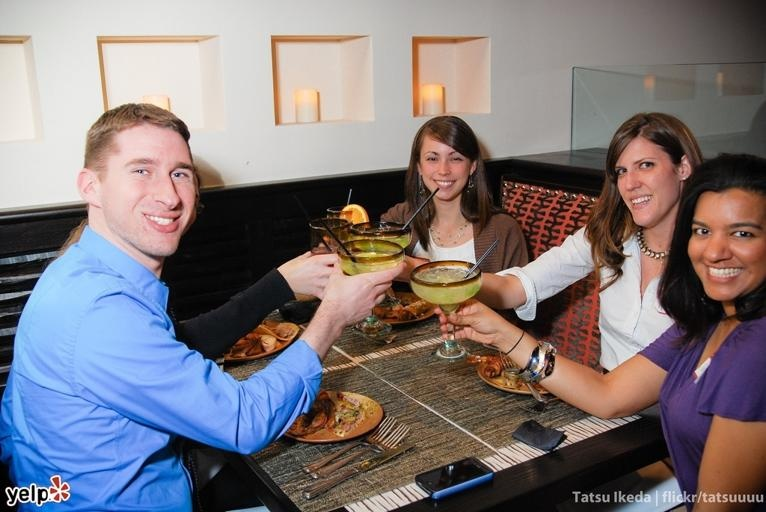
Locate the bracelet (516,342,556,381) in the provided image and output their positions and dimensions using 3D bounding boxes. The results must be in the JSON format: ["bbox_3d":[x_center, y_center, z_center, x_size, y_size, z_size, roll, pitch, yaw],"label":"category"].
[{"bbox_3d":[0.497,0.366,1.581,0.119,0.084,0.129,-37,22,43],"label":"bracelet"}]

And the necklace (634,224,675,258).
[{"bbox_3d":[1.126,-0.045,2.004,0.134,0.028,0.155,-3,56,-6],"label":"necklace"}]

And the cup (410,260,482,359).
[{"bbox_3d":[0.219,0.195,1.659,0.294,0.318,0.282,-3,12,1],"label":"cup"}]

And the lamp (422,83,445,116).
[{"bbox_3d":[0.362,-1.140,3.572,0.223,0.242,0.221,4,9,14],"label":"lamp"}]

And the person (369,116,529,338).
[{"bbox_3d":[0.308,-0.314,2.724,1.026,0.870,0.632,8,21,24],"label":"person"}]

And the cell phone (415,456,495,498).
[{"bbox_3d":[0.182,0.528,1.187,0.147,0.029,0.078,-9,17,-25],"label":"cell phone"}]

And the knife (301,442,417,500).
[{"bbox_3d":[-0.057,0.551,1.229,0.294,0.015,0.040,-10,28,-39],"label":"knife"}]

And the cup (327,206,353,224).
[{"bbox_3d":[-0.205,-0.202,2.299,0.105,0.109,0.107,0,1,0],"label":"cup"}]

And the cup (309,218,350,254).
[{"bbox_3d":[-0.204,-0.081,1.959,0.154,0.168,0.159,0,3,0],"label":"cup"}]
